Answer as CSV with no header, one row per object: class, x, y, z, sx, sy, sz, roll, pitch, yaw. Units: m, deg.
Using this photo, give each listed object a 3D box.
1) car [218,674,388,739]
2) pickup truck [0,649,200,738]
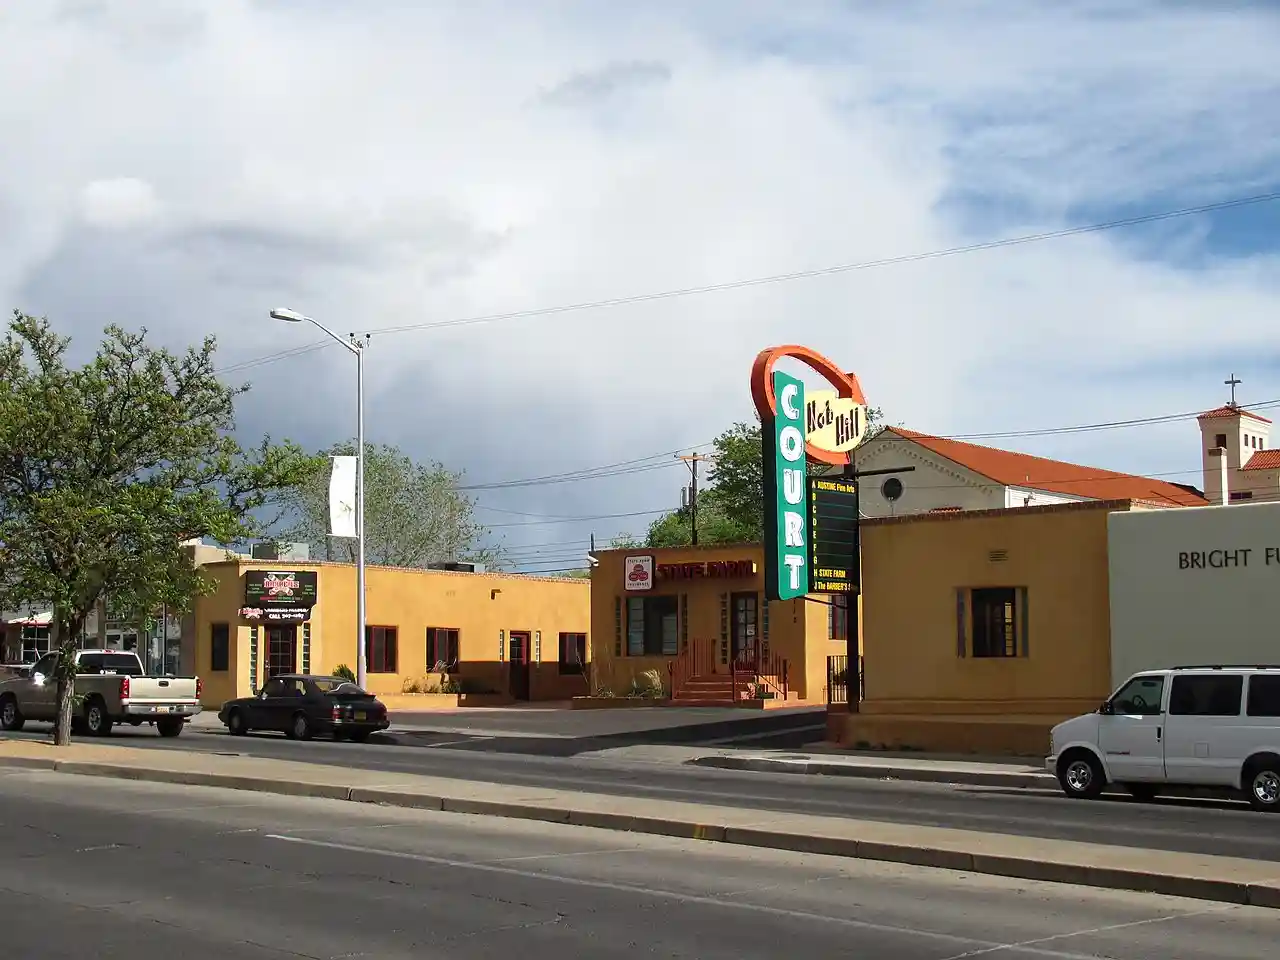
car,-7.919,5.407,40.891,3.881,1.510,1.096,-6,-10,30
pickup truck,-12.996,5.046,40.591,4.480,1.540,2.183,-1,-5,36
